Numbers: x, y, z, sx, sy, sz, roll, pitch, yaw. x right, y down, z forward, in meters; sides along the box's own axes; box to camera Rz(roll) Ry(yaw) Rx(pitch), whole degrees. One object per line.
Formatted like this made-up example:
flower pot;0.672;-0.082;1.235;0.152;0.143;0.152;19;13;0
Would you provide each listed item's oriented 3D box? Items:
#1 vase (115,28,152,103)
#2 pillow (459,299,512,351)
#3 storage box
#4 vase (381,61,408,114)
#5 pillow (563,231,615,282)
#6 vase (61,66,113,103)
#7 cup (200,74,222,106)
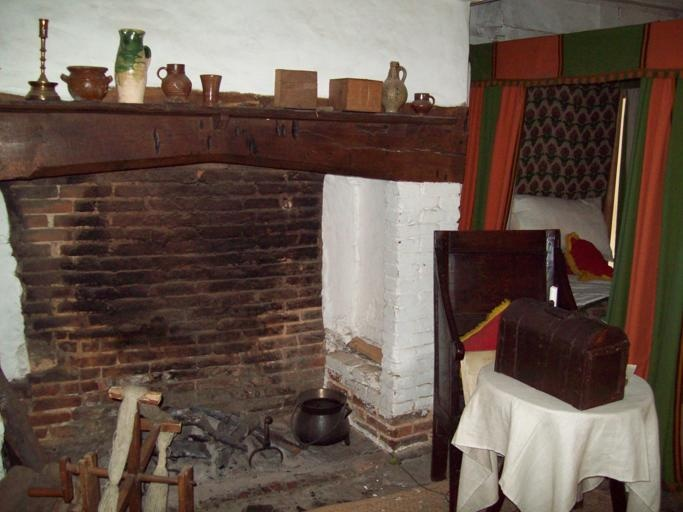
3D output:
vase;-1.082;-0.989;2.898;0.178;0.365;0.112;-5;14;-22
pillow;0.890;0.430;3.479;0.384;0.139;0.231;-30;12;-35
storage box;1.115;0.466;2.864;0.334;0.394;0.575;-7;13;-29
vase;0.330;-1.053;3.463;0.159;0.313;0.144;-1;13;-6
pillow;2.052;-0.019;4.597;0.407;0.415;0.242;-4;2;42
vase;-1.313;-0.890;2.890;0.258;0.164;0.213;-10;18;-42
cup;-0.724;-0.931;3.109;0.111;0.169;0.156;-3;13;-12
